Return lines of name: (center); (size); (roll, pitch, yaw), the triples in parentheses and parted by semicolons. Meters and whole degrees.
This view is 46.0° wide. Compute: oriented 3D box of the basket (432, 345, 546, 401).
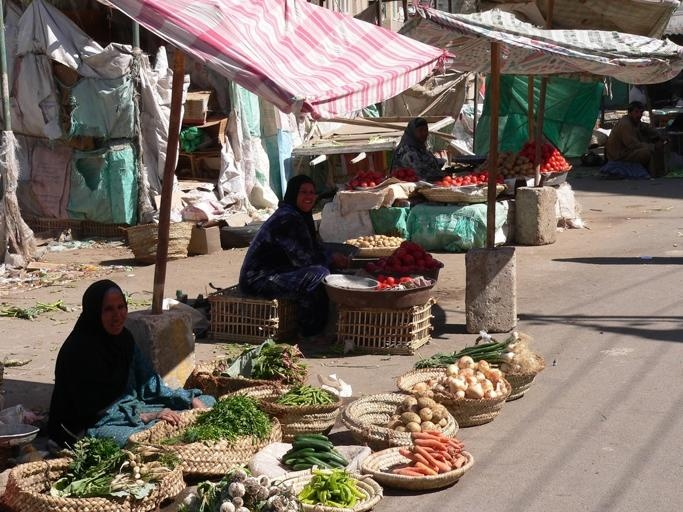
basket: (1.325, 0.944, 6.972); (0.722, 0.342, 0.922); (2, 9, 19)

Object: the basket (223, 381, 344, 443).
basket: (-0.371, 1.179, 6.154); (0.548, 0.203, 0.528); (1, 1, 6)

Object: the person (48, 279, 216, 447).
person: (-1.637, 0.795, 5.987); (1.050, 1.196, 0.524); (-2, 6, -20)

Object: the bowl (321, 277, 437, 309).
bowl: (0.350, 0.352, 7.807); (1.058, 0.298, 0.442); (0, 6, 2)

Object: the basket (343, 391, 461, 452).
basket: (0.299, 1.250, 6.129); (0.526, 0.151, 0.527); (6, 14, 23)

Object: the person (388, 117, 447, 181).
person: (1.223, -1.653, 12.751); (0.781, 1.009, 0.963); (-3, 6, 26)

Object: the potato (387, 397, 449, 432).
potato: (0.613, 1.153, 6.182); (0.508, 0.220, 0.590); (0, 13, 13)

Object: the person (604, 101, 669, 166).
person: (6.509, -2.632, 17.979); (1.065, 1.494, 1.169); (2, 12, 34)

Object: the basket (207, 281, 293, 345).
basket: (-0.967, 0.594, 8.285); (0.823, 0.511, 0.464); (2, 6, 19)

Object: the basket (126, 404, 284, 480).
basket: (-0.893, 1.369, 5.973); (0.906, 0.371, 1.246); (-6, 11, -10)

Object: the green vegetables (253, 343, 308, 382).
green vegetables: (-0.511, 0.858, 6.579); (0.451, 0.266, 0.400); (-1, 6, -6)

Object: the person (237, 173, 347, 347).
person: (-0.481, -0.007, 8.595); (1.191, 1.604, 1.086); (4, 18, -25)
